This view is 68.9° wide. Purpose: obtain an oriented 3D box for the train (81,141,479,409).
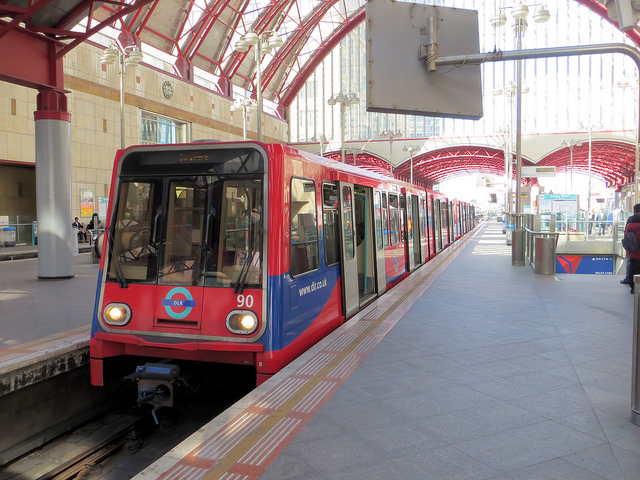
[{"bbox_3d":[0.847,-0.125,13.837,2.652,3.831,16.310,3,5,19],"label":"train"}]
